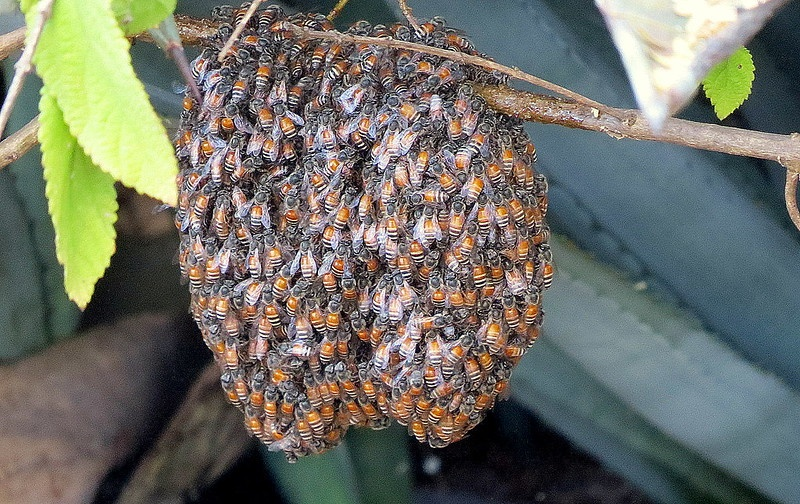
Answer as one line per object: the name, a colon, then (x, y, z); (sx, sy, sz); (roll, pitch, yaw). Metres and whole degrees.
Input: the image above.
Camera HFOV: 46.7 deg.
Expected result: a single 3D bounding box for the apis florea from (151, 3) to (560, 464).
apis florea: (-0.089, -0.031, 2.226); (0.866, 0.560, 1.014); (-11, 76, -6)
